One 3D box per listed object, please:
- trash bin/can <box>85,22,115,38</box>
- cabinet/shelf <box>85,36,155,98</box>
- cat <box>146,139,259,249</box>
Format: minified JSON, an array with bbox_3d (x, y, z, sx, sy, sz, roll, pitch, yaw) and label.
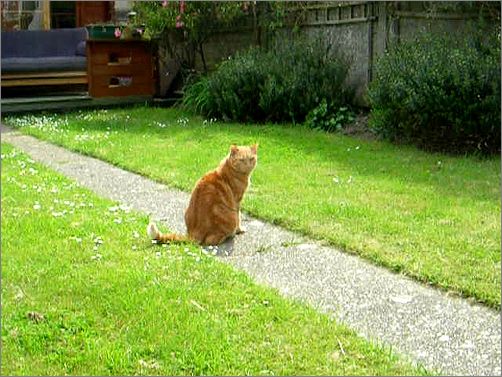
[{"bbox_3d":[-3.029,-3.155,15.024,0.566,0.306,0.284,2,12,-17],"label":"trash bin/can"},{"bbox_3d":[-2.732,-2.515,15.845,0.913,0.991,1.333,-1,15,-8],"label":"cabinet/shelf"},{"bbox_3d":[-0.393,0.043,7.510,1.026,0.963,0.420,-7,15,-44],"label":"cat"}]
